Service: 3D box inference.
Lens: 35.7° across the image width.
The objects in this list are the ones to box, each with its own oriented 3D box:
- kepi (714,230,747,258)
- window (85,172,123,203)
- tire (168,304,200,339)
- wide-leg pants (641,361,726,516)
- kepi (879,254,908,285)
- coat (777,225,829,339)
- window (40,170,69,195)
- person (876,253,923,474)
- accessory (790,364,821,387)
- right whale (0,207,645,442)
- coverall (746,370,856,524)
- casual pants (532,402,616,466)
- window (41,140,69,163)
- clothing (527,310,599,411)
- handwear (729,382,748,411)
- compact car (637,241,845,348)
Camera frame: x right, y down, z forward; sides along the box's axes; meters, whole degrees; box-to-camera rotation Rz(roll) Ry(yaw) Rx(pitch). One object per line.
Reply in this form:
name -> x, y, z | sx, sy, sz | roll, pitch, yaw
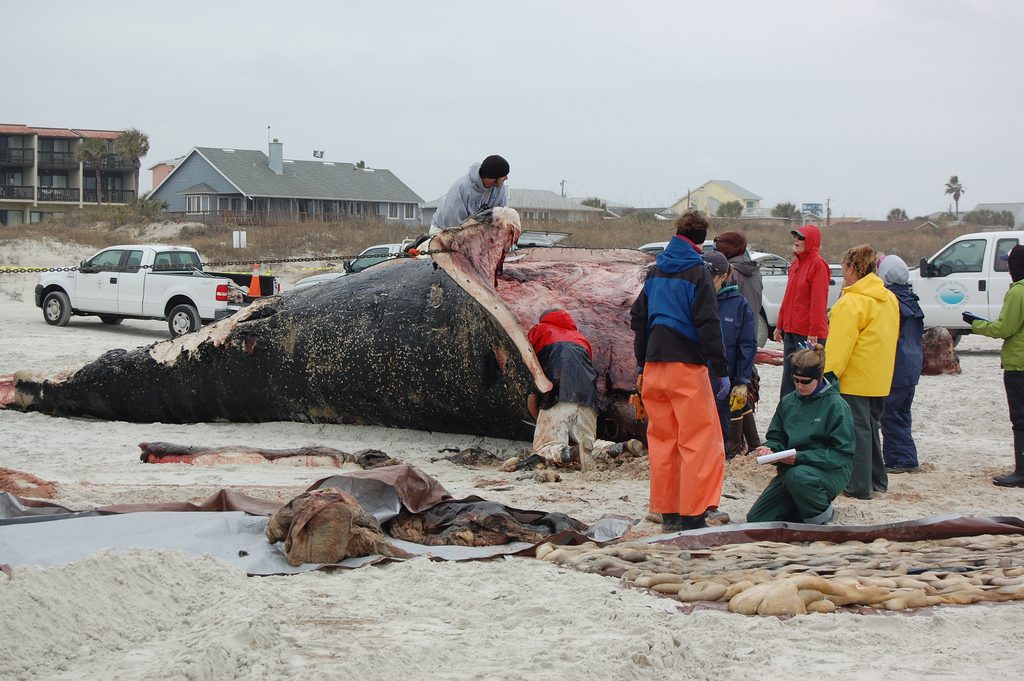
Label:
kepi -> 2.480, -1.083, 18.139 | 0.341, 0.295, 0.261 | 10, 46, 13
window -> -15.933, -5.934, 62.064 | 0.821, 1.087, 1.577 | 2, 2, 42
tire -> -5.232, -0.324, 25.532 | 0.557, 0.568, 0.192 | -8, -3, 36
wide-leg pants -> 1.692, 0.915, 16.034 | 0.773, 1.582, 0.577 | -3, 0, 33
kepi -> 4.237, -0.785, 17.990 | 0.272, 0.371, 0.374 | 2, -31, -7
coat -> 3.307, -0.670, 18.010 | 0.498, 1.263, 0.771 | 1, 2, -1
window -> -17.330, -5.953, 60.296 | 1.075, 1.020, 0.088 | 3, -14, -43
person -> 4.260, 0.189, 17.904 | 0.782, 2.374, 0.737 | 1, 9, 9
accessory -> 2.952, 0.332, 16.046 | 0.280, 0.195, 0.137 | 1, 2, 8
right whale -> -1.991, 0.119, 19.377 | 6.783, 1.842, 2.669 | -4, -8, 20
coverall -> 2.965, 1.127, 16.293 | 0.904, 1.643, 0.880 | 19, -23, -17
casual pants -> 0.667, 1.018, 17.533 | 0.542, 0.547, 0.811 | 0, 6, -31
window -> -17.493, -7.172, 60.695 | 0.771, 0.972, 1.477 | 2, 4, 28
clothing -> 0.515, 0.192, 17.951 | 0.811, 1.231, 0.632 | -13, -26, 21
handwear -> 2.394, 0.598, 16.992 | 0.203, 0.263, 0.077 | -21, 26, -22
compact car -> 3.867, -0.771, 26.736 | 3.227, 1.365, 1.853 | 2, 1, -4
